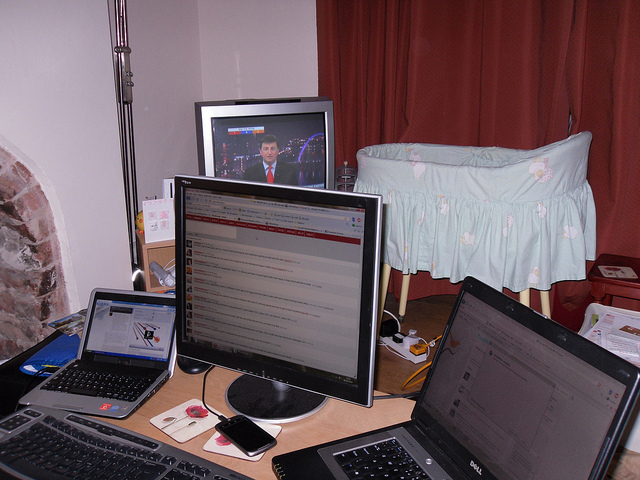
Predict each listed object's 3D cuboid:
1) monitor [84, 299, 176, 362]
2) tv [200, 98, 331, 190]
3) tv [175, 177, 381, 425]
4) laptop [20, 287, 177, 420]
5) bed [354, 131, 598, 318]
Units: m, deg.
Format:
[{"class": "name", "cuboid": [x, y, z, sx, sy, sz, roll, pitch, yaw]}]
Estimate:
[{"class": "monitor", "cuboid": [-0.556, 0.263, 1.483, 0.337, 0.216, 0.015, 1, -13, 22]}, {"class": "tv", "cuboid": [-0.301, -0.523, 2.671, 0.592, 0.555, 0.326, -5, 15, -21]}, {"class": "tv", "cuboid": [-0.129, 0.148, 1.362, 0.597, 0.618, 0.336, 8, 16, 23]}, {"class": "laptop", "cuboid": [-0.604, 0.309, 1.416, 0.352, 0.266, 0.264, 3, 13, 13]}, {"class": "bed", "cuboid": [0.930, -0.178, 3.160, 1.299, 1.237, 0.885, 13, 26, 27]}]
